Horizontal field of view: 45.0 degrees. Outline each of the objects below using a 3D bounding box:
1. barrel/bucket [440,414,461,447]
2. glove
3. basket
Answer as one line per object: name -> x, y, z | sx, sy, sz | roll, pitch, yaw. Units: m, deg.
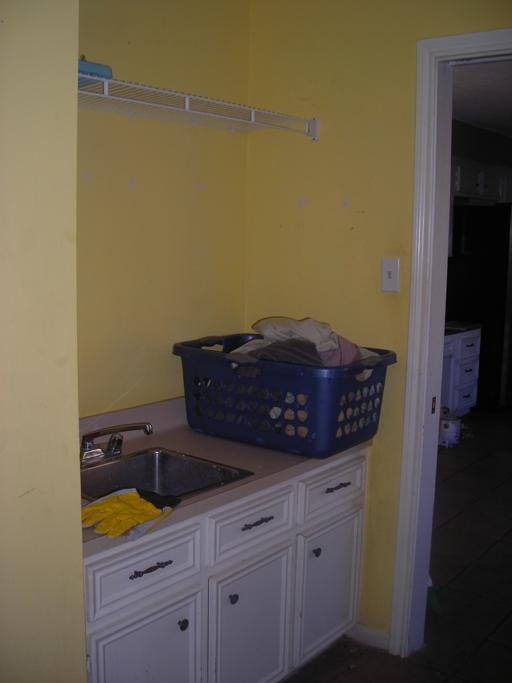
barrel/bucket -> 1.371, 0.654, 4.505 | 0.200, 0.222, 0.220 | 1, -3, 31
glove -> -0.269, 0.363, 1.340 | 0.130, 0.031, 0.184 | 15, 12, 26
basket -> 0.061, 0.109, 1.883 | 0.503, 0.235, 0.383 | 4, 5, 40
